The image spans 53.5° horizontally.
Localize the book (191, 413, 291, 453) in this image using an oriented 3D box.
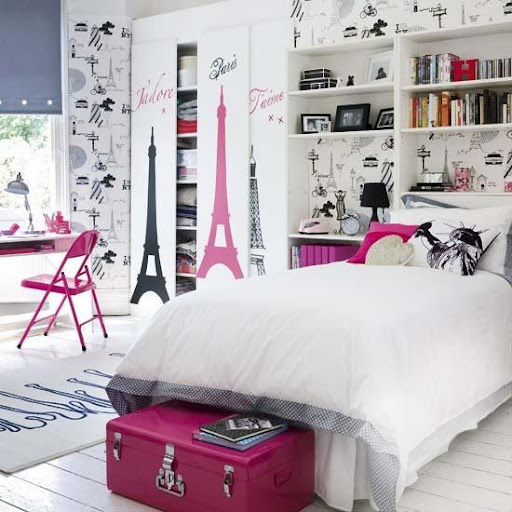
[{"bbox_3d":[-0.031,0.519,1.560,0.192,0.038,0.281,3,5,39],"label":"book"}]
